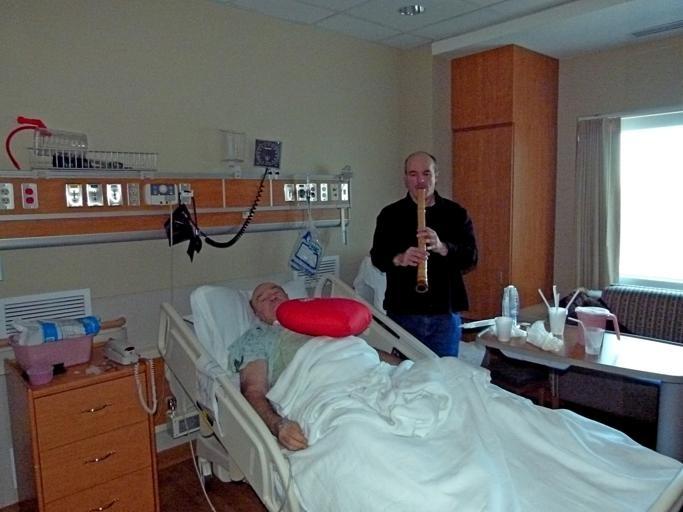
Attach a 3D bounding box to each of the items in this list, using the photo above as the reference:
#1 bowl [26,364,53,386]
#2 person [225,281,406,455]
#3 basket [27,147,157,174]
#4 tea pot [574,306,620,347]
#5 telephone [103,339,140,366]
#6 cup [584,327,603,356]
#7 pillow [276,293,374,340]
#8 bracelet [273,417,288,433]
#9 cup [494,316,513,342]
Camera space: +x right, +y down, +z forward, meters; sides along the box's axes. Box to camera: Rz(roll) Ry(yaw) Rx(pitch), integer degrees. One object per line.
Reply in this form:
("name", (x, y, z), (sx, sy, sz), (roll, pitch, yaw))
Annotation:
("bowl", (-1.488, 0.585, 2.557), (0.108, 0.065, 0.144), (-6, 10, -28))
("person", (-0.101, 0.548, 2.893), (1.083, 0.367, 1.164), (-10, 28, -27))
("basket", (-1.416, -0.560, 3.003), (0.683, 0.135, 0.259), (-5, 10, -24))
("tea pot", (1.432, 0.398, 2.926), (0.240, 0.171, 0.179), (1, 2, 22))
("telephone", (-1.173, 0.510, 2.772), (0.192, 0.099, 0.107), (20, 19, 40))
("cup", (1.353, 0.453, 2.777), (0.127, 0.145, 0.133), (0, -2, 0))
("pillow", (-0.088, 0.307, 2.686), (0.388, 0.132, 0.224), (4, 13, 4))
("bracelet", (-0.268, 0.746, 2.291), (0.024, 0.059, 0.060), (22, -34, -15))
("cup", (0.934, 0.417, 2.976), (0.125, 0.138, 0.127), (-1, -1, 0))
